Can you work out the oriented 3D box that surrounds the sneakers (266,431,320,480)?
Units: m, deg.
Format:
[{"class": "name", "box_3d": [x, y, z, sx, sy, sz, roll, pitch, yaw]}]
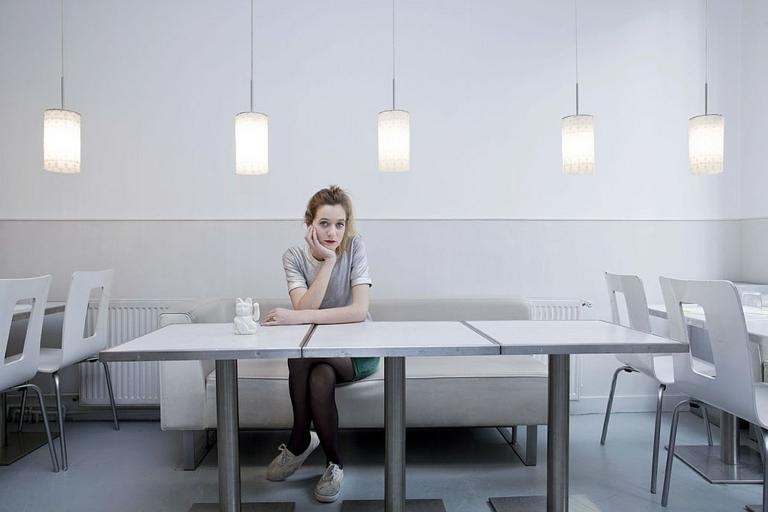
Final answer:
[{"class": "sneakers", "box_3d": [-0.584, 1.327, 4.037, 0.145, 0.353, 0.130, 47, -3, -42]}]

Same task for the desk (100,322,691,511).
[{"class": "desk", "box_3d": [0.040, 0.943, 3.491, 2.836, 1.122, 0.504, -1, 4, -2]}]

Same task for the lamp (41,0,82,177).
[{"class": "lamp", "box_3d": [-2.435, -1.331, 4.663, 0.251, 1.413, 0.662, -3, 4, -26]}]

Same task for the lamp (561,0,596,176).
[{"class": "lamp", "box_3d": [1.481, -1.343, 4.714, 0.265, 1.444, 0.707, 0, 4, 19]}]

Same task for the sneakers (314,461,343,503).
[{"class": "sneakers", "box_3d": [-0.341, 1.414, 3.782, 0.117, 0.132, 0.302, 1, -10, 2]}]

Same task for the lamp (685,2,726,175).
[{"class": "lamp", "box_3d": [2.500, -1.351, 4.746, 0.209, 1.451, 0.802, 1, 5, 30]}]

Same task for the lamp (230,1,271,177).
[{"class": "lamp", "box_3d": [-0.984, -1.315, 4.577, 0.274, 1.444, 0.823, -2, 4, -13]}]

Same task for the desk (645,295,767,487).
[{"class": "desk", "box_3d": [2.310, 0.916, 4.327, 1.024, 1.090, 1.063, 0, -3, -1]}]

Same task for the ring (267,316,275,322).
[{"class": "ring", "box_3d": [-0.662, 0.376, 3.626, 0.032, 0.033, 0.012, -2, -22, 6]}]

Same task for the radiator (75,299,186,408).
[{"class": "radiator", "box_3d": [-1.786, 0.680, 4.360, 0.810, 0.870, 0.088, -1, -2, 0]}]
